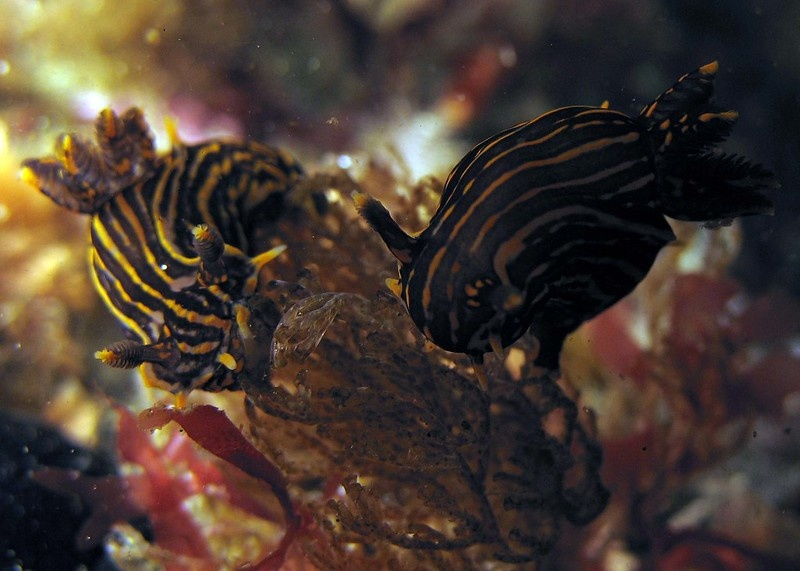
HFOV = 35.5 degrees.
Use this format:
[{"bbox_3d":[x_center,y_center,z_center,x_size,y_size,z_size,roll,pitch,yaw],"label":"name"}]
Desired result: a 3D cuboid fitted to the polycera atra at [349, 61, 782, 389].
[{"bbox_3d":[0.421,-0.155,2.898,0.852,0.738,0.272,4,-13,-6],"label":"polycera atra"}]
